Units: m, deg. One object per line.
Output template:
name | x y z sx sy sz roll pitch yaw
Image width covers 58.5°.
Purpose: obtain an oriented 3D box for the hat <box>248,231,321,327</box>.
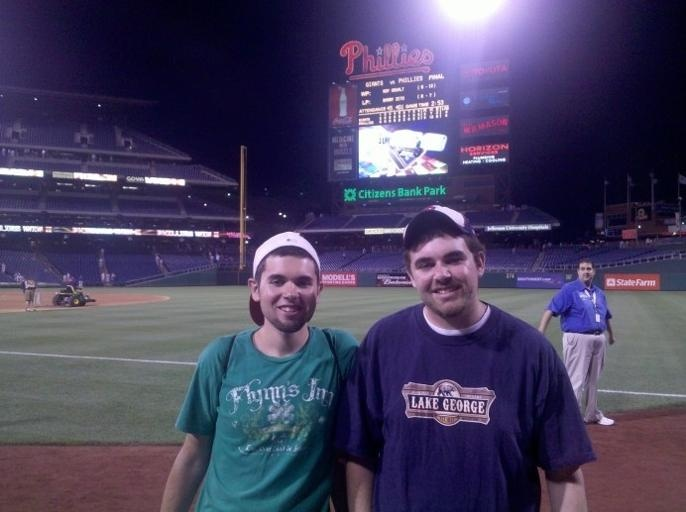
hat | -0.554 0.127 5.048 0.483 0.843 0.313 9 8 -10
